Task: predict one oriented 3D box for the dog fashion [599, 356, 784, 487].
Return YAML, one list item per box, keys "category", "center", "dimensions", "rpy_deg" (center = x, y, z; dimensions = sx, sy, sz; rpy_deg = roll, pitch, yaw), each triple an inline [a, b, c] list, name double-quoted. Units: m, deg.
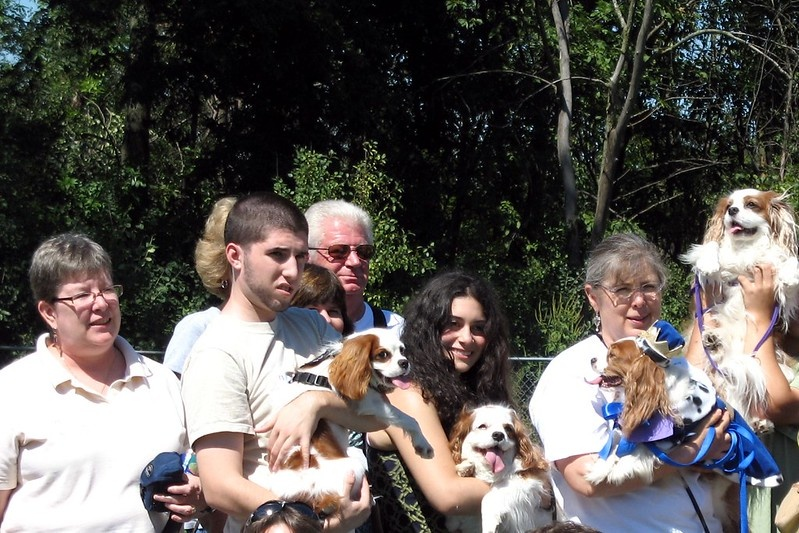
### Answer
- category: "dog fashion"
  center: [2.257, 1.211, 6.354]
  dimensions: [1.759, 0.902, 1.158]
  rpy_deg: [7, 6, -15]
